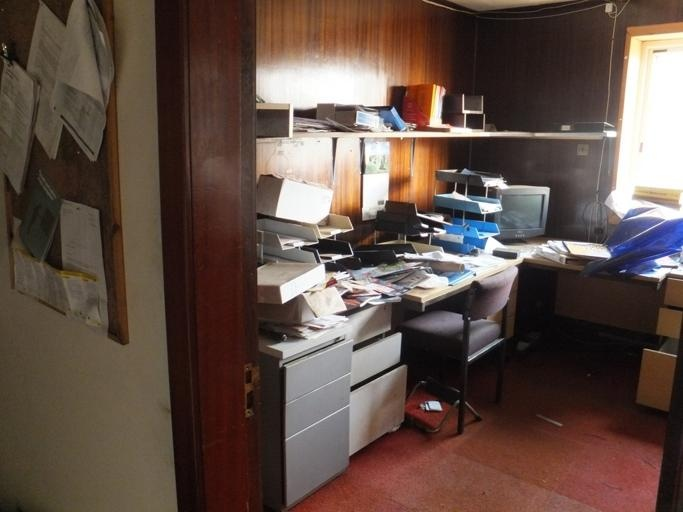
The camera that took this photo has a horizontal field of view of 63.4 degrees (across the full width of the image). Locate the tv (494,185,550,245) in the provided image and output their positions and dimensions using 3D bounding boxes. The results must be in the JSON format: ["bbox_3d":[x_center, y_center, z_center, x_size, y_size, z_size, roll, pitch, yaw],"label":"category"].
[{"bbox_3d":[1.329,-0.300,4.120,0.370,0.370,0.227,-5,16,-18],"label":"tv"}]

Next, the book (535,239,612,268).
[{"bbox_3d":[1.603,-0.021,3.797,0.509,0.095,0.509,12,19,35],"label":"book"}]

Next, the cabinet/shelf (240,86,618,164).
[{"bbox_3d":[0.515,-0.827,3.685,2.672,0.387,1.127,-8,18,-31],"label":"cabinet/shelf"}]

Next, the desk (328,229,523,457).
[{"bbox_3d":[0.673,0.471,3.276,0.530,0.855,0.469,12,17,38],"label":"desk"}]

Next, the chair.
[{"bbox_3d":[0.688,0.481,3.277,0.529,0.863,0.493,12,17,42],"label":"chair"}]

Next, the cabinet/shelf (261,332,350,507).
[{"bbox_3d":[-0.145,0.738,2.508,0.473,0.791,0.156,-11,18,-38],"label":"cabinet/shelf"}]
